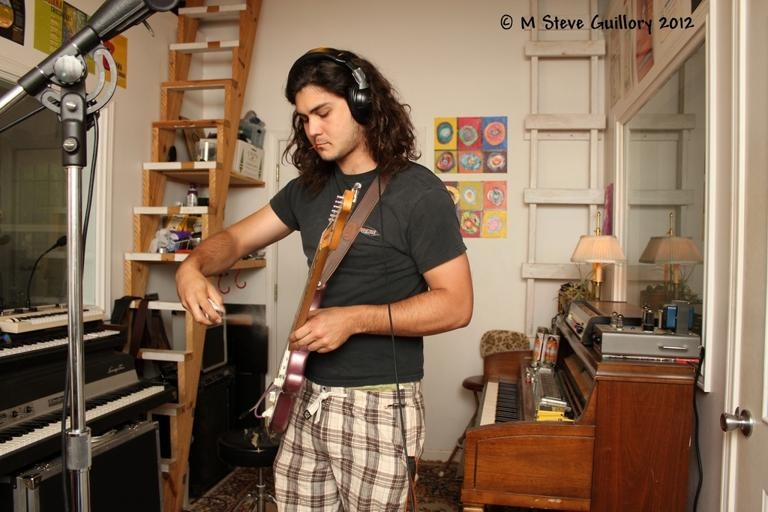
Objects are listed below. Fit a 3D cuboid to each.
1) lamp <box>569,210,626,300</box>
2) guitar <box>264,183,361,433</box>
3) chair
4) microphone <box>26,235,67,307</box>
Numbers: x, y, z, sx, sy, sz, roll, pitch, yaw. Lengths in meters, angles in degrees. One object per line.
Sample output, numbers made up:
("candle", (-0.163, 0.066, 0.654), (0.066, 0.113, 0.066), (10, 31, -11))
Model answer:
("lamp", (1.297, 0.109, 3.550), (0.206, 0.788, 0.206), (0, -2, 38))
("guitar", (-0.292, 0.228, 2.200), (0.475, 0.981, 0.219), (3, 1, 28))
("chair", (0.716, 1.069, 4.156), (0.584, 1.040, 0.547), (1, -1, 21))
("microphone", (-1.964, 0.075, 3.356), (0.039, 0.397, 0.219), (3, 2, 32))
